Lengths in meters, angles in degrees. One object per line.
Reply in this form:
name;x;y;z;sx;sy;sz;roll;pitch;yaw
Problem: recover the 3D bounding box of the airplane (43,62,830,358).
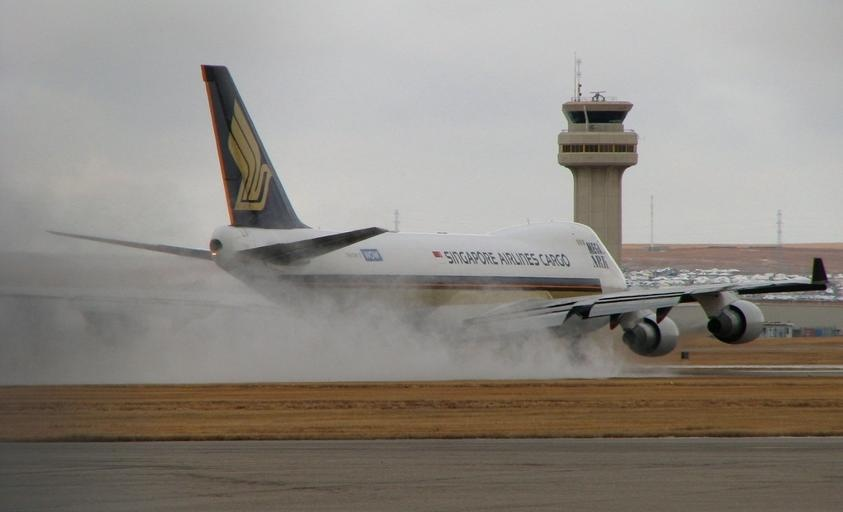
airplane;1.376;-1.028;43.657;14.310;8.137;5.426;-2;3;-33
